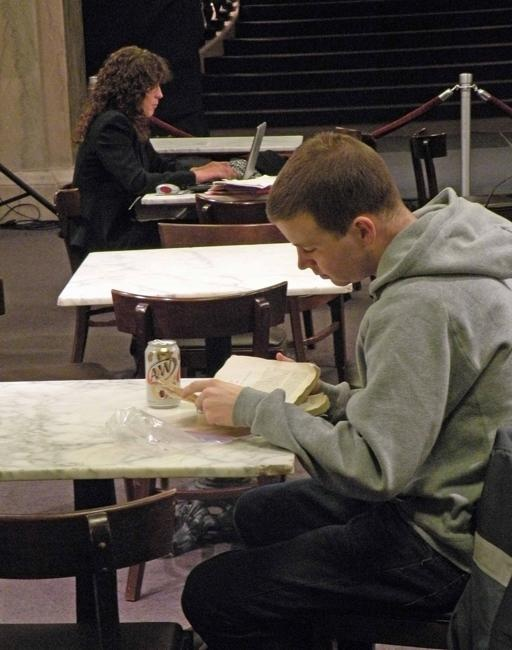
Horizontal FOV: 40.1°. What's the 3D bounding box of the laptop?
[{"bbox_3d":[-0.244,-0.976,4.335,0.506,0.321,0.558,7,12,12],"label":"laptop"}]
